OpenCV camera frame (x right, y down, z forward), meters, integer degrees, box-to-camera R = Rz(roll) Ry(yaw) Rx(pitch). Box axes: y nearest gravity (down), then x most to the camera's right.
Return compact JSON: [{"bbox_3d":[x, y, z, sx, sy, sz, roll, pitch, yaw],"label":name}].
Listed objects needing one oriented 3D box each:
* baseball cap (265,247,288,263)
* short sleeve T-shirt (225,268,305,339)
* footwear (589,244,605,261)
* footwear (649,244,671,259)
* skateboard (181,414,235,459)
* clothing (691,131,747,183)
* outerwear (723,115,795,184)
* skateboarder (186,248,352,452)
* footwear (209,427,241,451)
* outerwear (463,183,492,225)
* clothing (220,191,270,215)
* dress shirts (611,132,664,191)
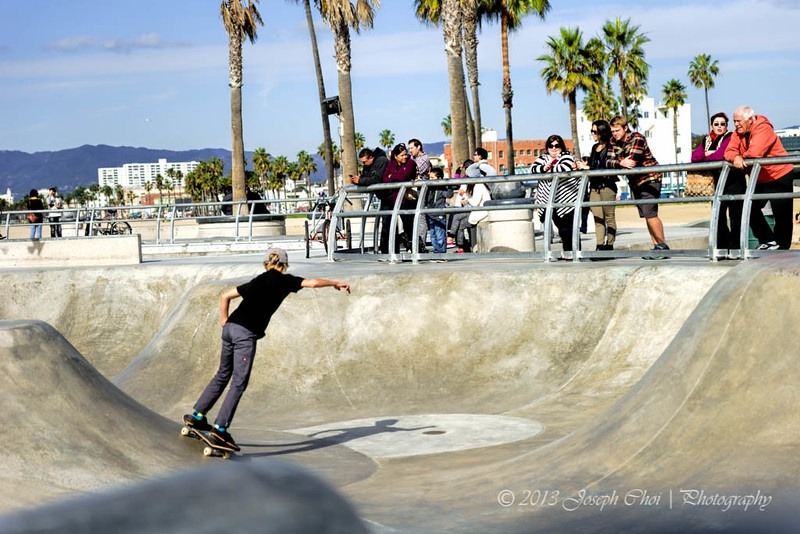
[{"bbox_3d":[-1.339,-0.126,9.487,0.214,0.170,0.361,1,1,21],"label":"baseball cap"},{"bbox_3d":[-1.497,0.355,9.303,0.718,0.757,0.278,24,-11,-8],"label":"short sleeve T-shirt"},{"bbox_3d":[3.090,-0.213,13.203,0.145,0.198,0.452,-2,8,-9],"label":"footwear"},{"bbox_3d":[3.772,-0.217,12.376,0.190,0.239,0.536,-1,3,-9],"label":"footwear"},{"bbox_3d":[-2.066,1.842,9.175,0.255,0.162,0.916,-14,31,-39],"label":"skateboard"},{"bbox_3d":[4.625,-1.570,12.500,0.554,0.839,0.612,5,-2,-42],"label":"clothing"},{"bbox_3d":[4.881,-1.562,11.577,0.866,0.901,0.703,5,14,21],"label":"outerwear"},{"bbox_3d":[-1.647,1.166,11.019,1.326,2.415,1.486,25,6,25],"label":"skateboarder"},{"bbox_3d":[-1.862,1.850,9.254,0.406,0.170,0.157,21,21,23],"label":"footwear"},{"bbox_3d":[1.433,-1.101,15.498,0.568,0.929,0.697,4,2,8],"label":"outerwear"},{"bbox_3d":[-5.235,-2.134,28.861,1.342,0.827,2.043,-2,0,-7],"label":"clothing"},{"bbox_3d":[3.499,-1.625,12.915,0.718,0.882,0.708,-2,21,14],"label":"dress shirts"}]
